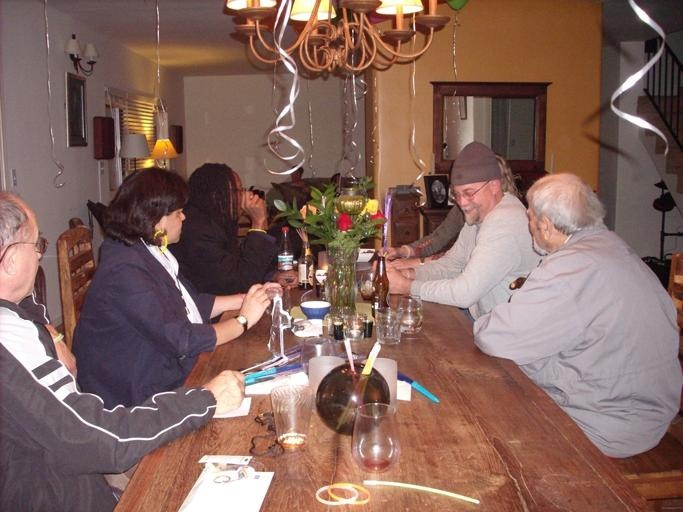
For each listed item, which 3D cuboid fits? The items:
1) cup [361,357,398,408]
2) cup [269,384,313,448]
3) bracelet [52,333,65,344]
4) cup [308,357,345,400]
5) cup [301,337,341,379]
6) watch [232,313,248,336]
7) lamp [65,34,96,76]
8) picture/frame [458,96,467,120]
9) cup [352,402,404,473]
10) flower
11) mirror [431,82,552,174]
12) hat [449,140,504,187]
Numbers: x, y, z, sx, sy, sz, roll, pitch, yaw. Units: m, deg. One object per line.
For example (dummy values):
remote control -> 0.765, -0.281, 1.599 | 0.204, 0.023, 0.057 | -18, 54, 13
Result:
cup -> 0.108, 0.351, 1.509 | 0.098, 0.178, 0.106 | 0, -2, 0
cup -> -0.133, 0.417, 1.469 | 0.130, 0.162, 0.133 | 0, 7, 0
bracelet -> -1.029, 0.305, 1.946 | 0.036, 0.017, 0.048 | -9, 10, -21
cup -> -0.039, 0.341, 1.498 | 0.084, 0.102, 0.102 | 1, 0, -4
cup -> -0.069, 0.324, 1.732 | 0.106, 0.112, 0.112 | -1, 1, 0
watch -> -0.388, 0.265, 2.120 | 0.045, 0.069, 0.071 | 25, 14, 33
lamp -> -2.777, -2.172, 5.792 | 0.268, 0.410, 0.771 | -5, 10, -17
picture/frame -> 1.228, -1.494, 5.422 | 0.087, 0.231, 0.031 | -4, 10, -15
cup -> 0.084, 0.430, 1.361 | 0.134, 0.156, 0.142 | -2, 12, 0
flower -> -0.046, -0.168, 2.393 | 0.379, 0.313, 0.402 | 1, -7, 36
mirror -> 1.376, -1.250, 5.111 | 1.249, 1.214, 0.188 | 0, 3, -7
hat -> 0.718, -0.496, 2.878 | 0.254, 0.213, 0.194 | -4, 16, 4
